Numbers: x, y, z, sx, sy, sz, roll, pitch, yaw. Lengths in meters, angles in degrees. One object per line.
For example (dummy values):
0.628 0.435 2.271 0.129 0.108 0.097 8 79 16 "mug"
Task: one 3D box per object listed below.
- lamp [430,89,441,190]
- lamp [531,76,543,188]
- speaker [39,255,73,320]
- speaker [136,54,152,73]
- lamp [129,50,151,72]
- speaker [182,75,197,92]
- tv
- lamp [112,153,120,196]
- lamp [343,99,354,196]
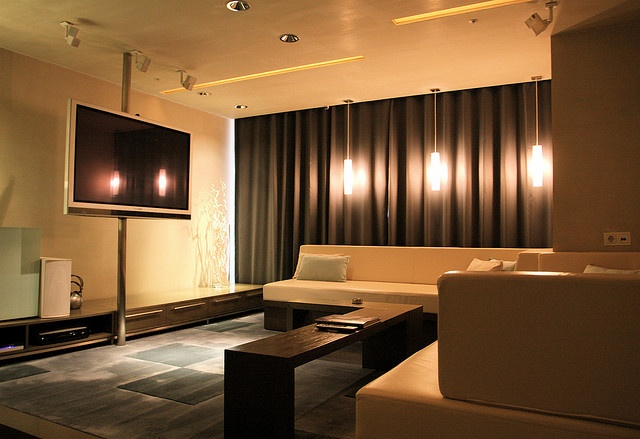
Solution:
1.516 -1.041 5.668 0.156 1.311 0.271 1 2 17 "lamp"
2.625 -1.052 5.231 0.150 1.321 0.290 1 2 26 "lamp"
-2.568 0.659 4.220 0.252 0.566 0.127 0 2 -32 "speaker"
-1.914 -1.707 4.699 0.126 0.179 0.228 0 2 -27 "speaker"
-1.943 -1.709 4.700 0.217 0.111 0.296 0 3 -1 "lamp"
-1.579 -1.660 5.230 0.151 0.191 0.339 0 1 -18 "speaker"
-2.132 -0.619 4.773 0.183 1.085 1.619 0 -3 31 "tv"
-2.182 -0.471 4.629 0.028 0.429 0.100 2 2 28 "lamp"
0.409 -1.009 6.147 0.155 1.333 0.302 1 2 2 "lamp"
